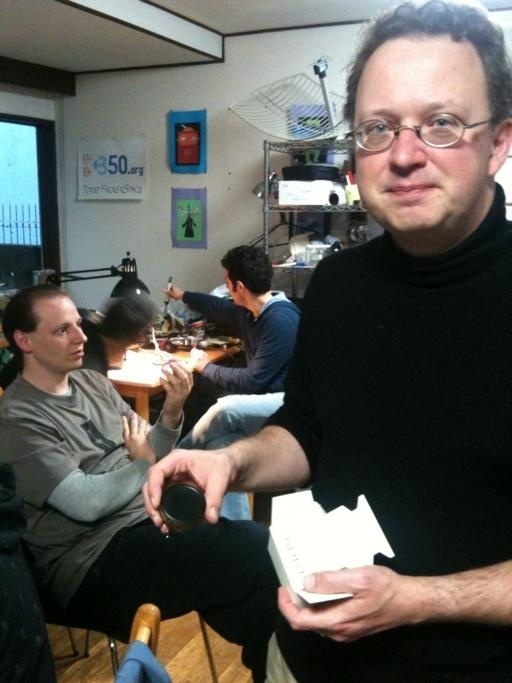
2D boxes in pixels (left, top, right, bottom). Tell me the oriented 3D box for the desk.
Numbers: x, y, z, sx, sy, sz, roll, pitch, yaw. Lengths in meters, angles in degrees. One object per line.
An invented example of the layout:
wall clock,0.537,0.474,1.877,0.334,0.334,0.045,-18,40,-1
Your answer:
desk,-0.382,0.158,2.635,0.252,0.223,0.480,16,24,21

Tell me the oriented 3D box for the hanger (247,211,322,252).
hanger,0.251,-0.757,3.756,0.551,0.223,0.131,-2,12,24
